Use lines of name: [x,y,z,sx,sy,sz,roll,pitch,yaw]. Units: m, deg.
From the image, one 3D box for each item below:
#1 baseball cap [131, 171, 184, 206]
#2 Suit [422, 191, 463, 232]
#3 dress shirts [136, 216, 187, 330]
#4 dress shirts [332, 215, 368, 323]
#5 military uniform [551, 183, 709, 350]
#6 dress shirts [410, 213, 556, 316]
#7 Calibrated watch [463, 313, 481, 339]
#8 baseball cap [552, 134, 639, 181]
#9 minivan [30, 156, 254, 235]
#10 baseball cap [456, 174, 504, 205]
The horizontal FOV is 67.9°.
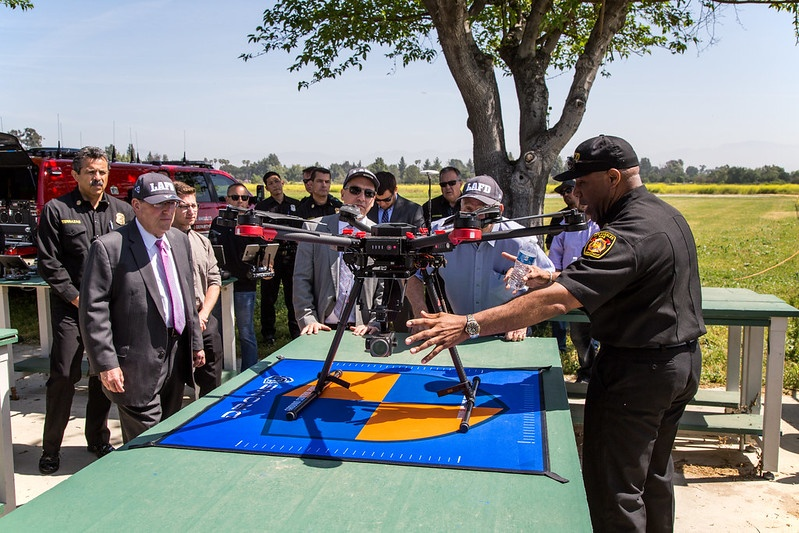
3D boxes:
baseball cap: [-1.837,-0.589,4.517,0.322,0.164,0.220,6,8,41]
Suit: [0.529,-0.809,8.110,0.554,0.254,0.749,-6,41,3]
dress shirts: [-1.830,0.074,4.724,0.253,0.977,0.144,-14,0,-31]
dress shirts: [-0.525,0.052,5.432,0.209,0.827,0.483,-1,9,-42]
military uniform: [1.522,-0.004,4.117,0.967,0.965,1.448,-1,6,38]
dress shirts: [0.638,0.146,5.213,1.211,0.915,0.368,11,-36,-2]
Calibrated watch: [0.427,0.355,3.574,0.082,0.125,0.132,2,-4,-20]
baseball cap: [1.322,-0.749,4.067,0.599,0.287,0.418,-5,13,0]
minivan: [-4.847,-1.711,11.733,2.152,1.683,3.621,5,10,35]
baseball cap: [0.670,-0.563,4.779,0.293,0.220,0.386,9,3,24]
